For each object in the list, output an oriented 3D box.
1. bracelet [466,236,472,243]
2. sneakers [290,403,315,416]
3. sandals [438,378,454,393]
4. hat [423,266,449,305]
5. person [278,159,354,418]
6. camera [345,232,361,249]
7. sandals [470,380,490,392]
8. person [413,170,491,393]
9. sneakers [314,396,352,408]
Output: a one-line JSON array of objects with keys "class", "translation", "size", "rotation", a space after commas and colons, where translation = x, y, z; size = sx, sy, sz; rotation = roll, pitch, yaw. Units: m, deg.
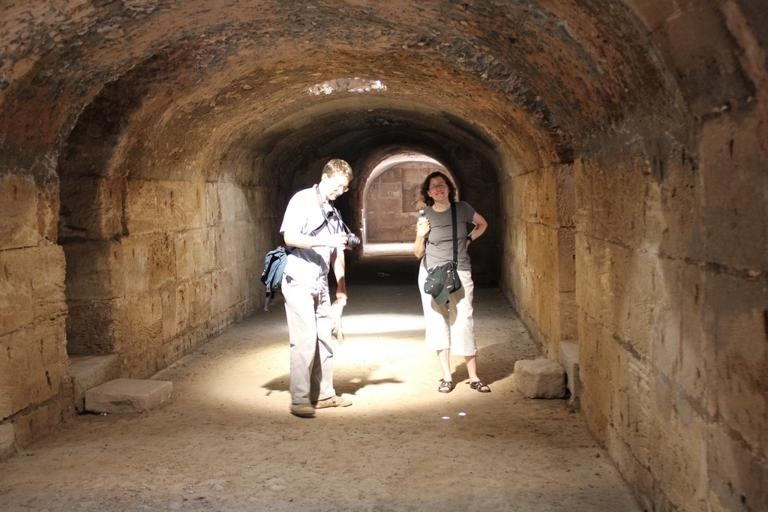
[{"class": "bracelet", "translation": [0.814, -0.152, 5.631], "size": [0.022, 0.054, 0.054], "rotation": [1, -28, -19]}, {"class": "sneakers", "translation": [-0.680, 1.319, 5.068], "size": [0.231, 0.082, 0.092], "rotation": [1, 2, 12]}, {"class": "sandals", "translation": [0.589, 1.243, 5.617], "size": [0.117, 0.064, 0.255], "rotation": [-1, -7, 8]}, {"class": "hat", "translation": [0.476, 0.274, 5.395], "size": [0.219, 0.350, 0.136], "rotation": [3, 9, 28]}, {"class": "person", "translation": [-0.583, 0.244, 5.356], "size": [0.614, 2.180, 0.990], "rotation": [-2, 8, -4]}, {"class": "camera", "translation": [-0.266, -0.124, 4.996], "size": [0.121, 0.167, 0.259], "rotation": [-1, -1, -3]}, {"class": "sandals", "translation": [0.907, 1.241, 5.584], "size": [0.173, 0.047, 0.088], "rotation": [4, 15, -2]}, {"class": "person", "translation": [0.646, 0.247, 5.578], "size": [0.679, 2.060, 0.475], "rotation": [-1, 8, 4]}, {"class": "sneakers", "translation": [-0.446, 1.290, 5.279], "size": [0.334, 0.110, 0.111], "rotation": [-1, -1, -6]}]
